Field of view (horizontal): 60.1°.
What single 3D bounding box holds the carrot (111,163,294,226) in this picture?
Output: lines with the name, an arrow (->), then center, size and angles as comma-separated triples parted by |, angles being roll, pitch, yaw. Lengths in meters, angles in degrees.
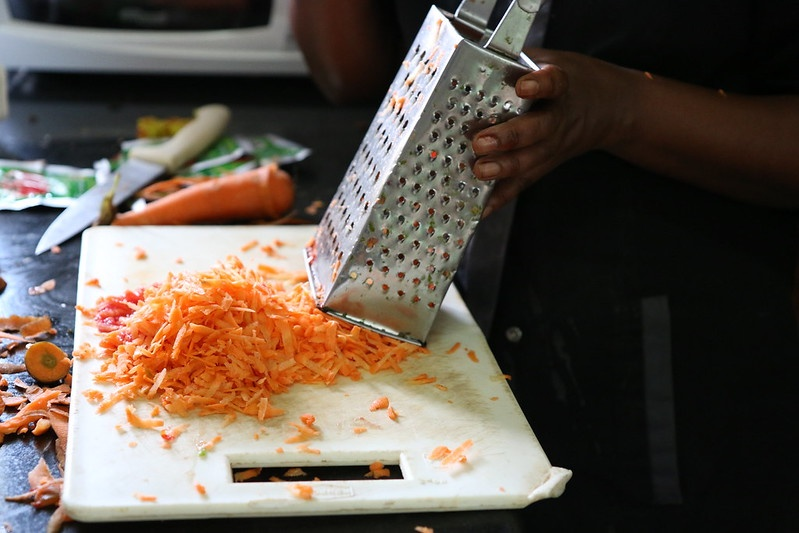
carrot -> -0.483, -0.148, 1.735 | 0.457, 0.129, 0.111 | -10, 86, -12
